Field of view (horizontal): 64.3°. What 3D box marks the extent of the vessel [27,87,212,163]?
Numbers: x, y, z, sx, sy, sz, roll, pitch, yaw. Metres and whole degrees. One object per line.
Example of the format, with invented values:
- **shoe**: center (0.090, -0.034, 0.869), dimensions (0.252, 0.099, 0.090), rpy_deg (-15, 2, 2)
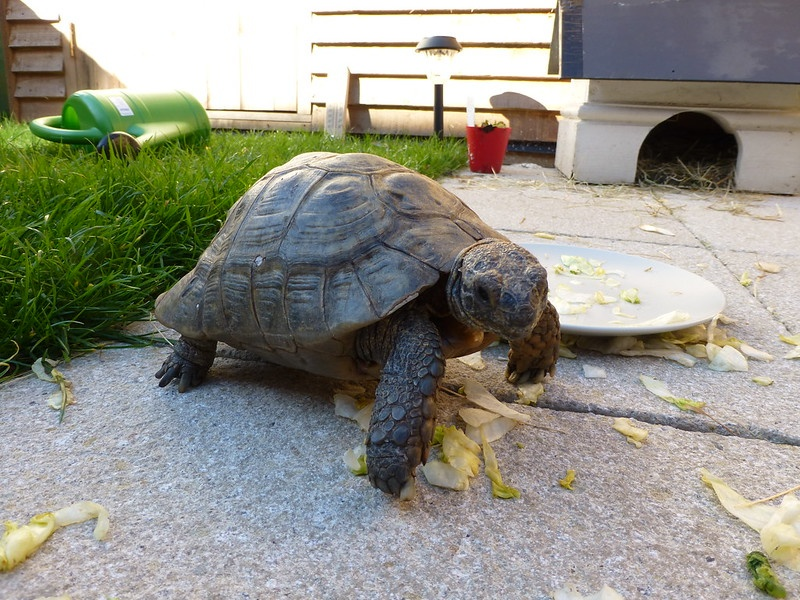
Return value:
- **vessel**: center (-1.719, -1.208, 4.327), dimensions (1.016, 0.395, 1.250), rpy_deg (26, 26, 33)
